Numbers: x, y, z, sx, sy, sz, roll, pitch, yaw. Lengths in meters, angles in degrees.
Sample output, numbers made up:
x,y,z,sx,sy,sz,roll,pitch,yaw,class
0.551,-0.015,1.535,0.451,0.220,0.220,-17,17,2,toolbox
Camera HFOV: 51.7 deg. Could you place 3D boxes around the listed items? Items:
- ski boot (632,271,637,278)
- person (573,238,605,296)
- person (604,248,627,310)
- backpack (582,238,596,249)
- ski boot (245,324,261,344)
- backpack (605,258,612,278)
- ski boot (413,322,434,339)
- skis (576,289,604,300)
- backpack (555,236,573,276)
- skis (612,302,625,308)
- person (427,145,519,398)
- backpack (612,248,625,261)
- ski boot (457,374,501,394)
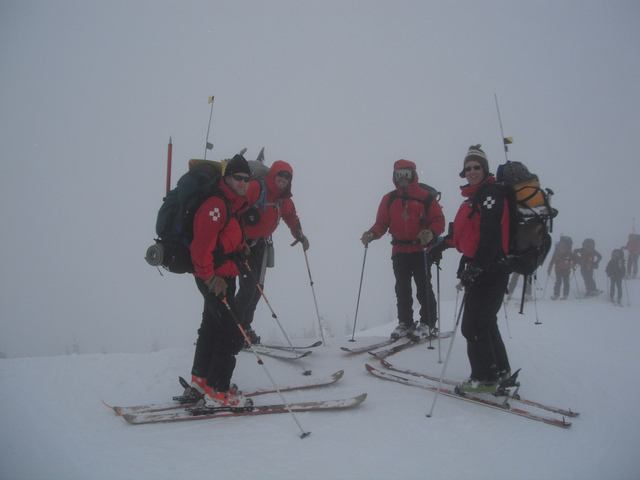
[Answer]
x,y,z,sx,sy,sz,roll,pitch,yaw,class
8.852,0.980,18.536,0.128,0.257,0.131,-2,6,4,ski boot
7.123,0.696,17.497,0.750,1.581,0.981,3,1,25,person
7.470,0.874,16.658,0.440,1.538,0.875,3,1,24,person
7.129,0.090,17.487,0.297,0.284,0.459,3,1,22,backpack
-1.269,1.792,12.392,0.161,0.365,0.503,3,3,36,ski boot
7.332,0.704,16.727,0.144,0.499,0.246,3,1,25,backpack
1.949,1.694,12.363,0.366,0.286,0.228,3,1,11,ski boot
7.085,1.418,17.265,0.485,0.038,0.055,-24,41,3,skis
6.447,0.416,17.463,0.308,0.953,0.552,3,-10,14,backpack
6.855,1.495,15.170,0.176,0.022,1.099,4,1,20,skis
2.480,0.475,9.999,0.940,3.808,0.611,3,1,16,person
7.643,0.353,16.903,0.337,0.129,0.236,-14,14,-43,backpack
2.421,2.182,10.029,0.627,0.294,0.172,3,1,18,ski boot
